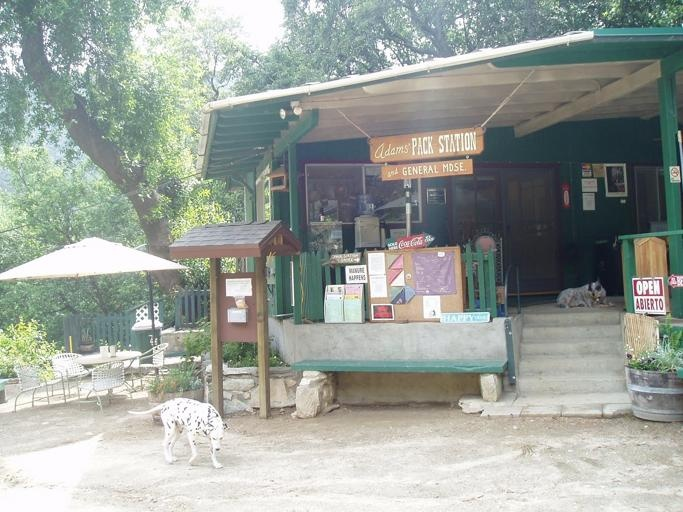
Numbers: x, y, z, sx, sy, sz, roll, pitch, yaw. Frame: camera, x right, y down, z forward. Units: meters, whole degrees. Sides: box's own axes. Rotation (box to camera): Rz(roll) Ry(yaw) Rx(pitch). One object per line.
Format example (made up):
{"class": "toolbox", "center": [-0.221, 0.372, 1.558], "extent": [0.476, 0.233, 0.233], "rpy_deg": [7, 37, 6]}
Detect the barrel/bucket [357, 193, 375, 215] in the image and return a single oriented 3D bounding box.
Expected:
{"class": "barrel/bucket", "center": [0.523, -1.059, 12.789], "extent": [0.369, 0.448, 0.382], "rpy_deg": [1, -6, 0]}

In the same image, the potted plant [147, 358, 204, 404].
{"class": "potted plant", "center": [-2.780, 2.154, 10.708], "extent": [0.656, 0.365, 0.677], "rpy_deg": [-1, -1, 20]}

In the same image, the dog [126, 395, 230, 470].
{"class": "dog", "center": [-2.144, 2.266, 8.073], "extent": [1.631, 0.780, 0.466], "rpy_deg": [0, -2, 29]}

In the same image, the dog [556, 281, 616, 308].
{"class": "dog", "center": [4.680, 0.732, 11.915], "extent": [0.810, 0.421, 0.498], "rpy_deg": [-7, -2, 33]}
